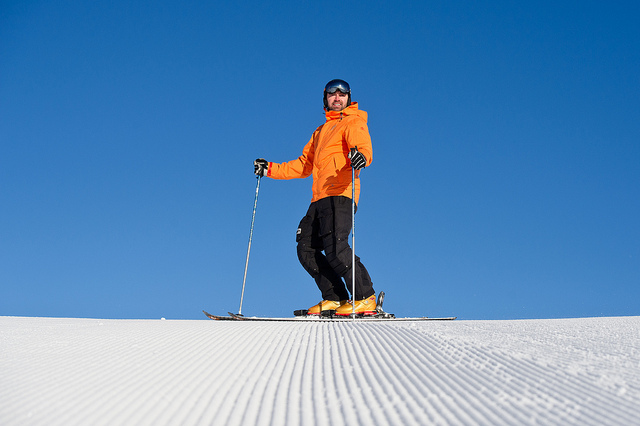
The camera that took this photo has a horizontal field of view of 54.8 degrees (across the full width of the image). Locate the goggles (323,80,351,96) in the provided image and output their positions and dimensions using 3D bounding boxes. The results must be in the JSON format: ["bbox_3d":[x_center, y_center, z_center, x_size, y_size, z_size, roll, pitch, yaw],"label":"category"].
[{"bbox_3d":[0.162,-1.228,6.027,0.240,0.137,0.190,-1,9,-1],"label":"goggles"}]

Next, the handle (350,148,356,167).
[{"bbox_3d":[0.283,-0.492,5.333,0.036,0.139,0.038,5,0,-33],"label":"handle"}]

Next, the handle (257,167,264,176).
[{"bbox_3d":[-0.613,-0.415,6.254,0.027,0.111,0.025,-2,-16,41],"label":"handle"}]

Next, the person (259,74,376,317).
[{"bbox_3d":[0.133,-0.174,5.577,0.699,2.066,1.562,-1,9,-3],"label":"person"}]
